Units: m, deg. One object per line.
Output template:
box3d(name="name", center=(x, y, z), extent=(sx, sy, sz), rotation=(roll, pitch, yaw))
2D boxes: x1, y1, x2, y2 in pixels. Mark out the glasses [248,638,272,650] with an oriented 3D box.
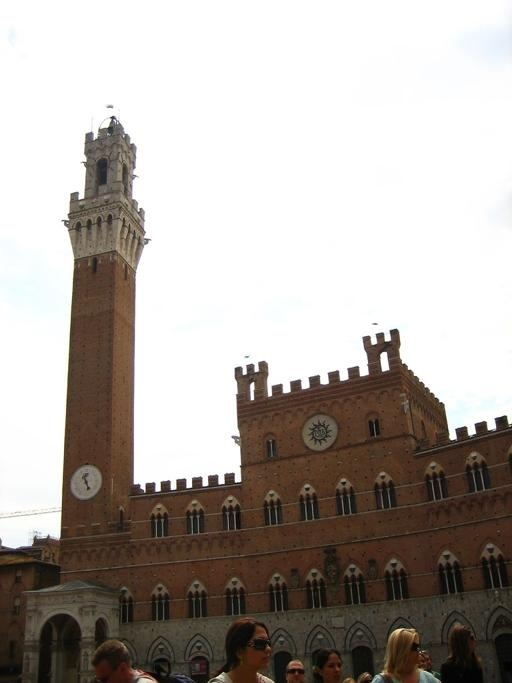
box3d(name="glasses", center=(0.045, 2.122, 5.273), extent=(0.081, 0.081, 0.248), rotation=(-14, -28, 20))
